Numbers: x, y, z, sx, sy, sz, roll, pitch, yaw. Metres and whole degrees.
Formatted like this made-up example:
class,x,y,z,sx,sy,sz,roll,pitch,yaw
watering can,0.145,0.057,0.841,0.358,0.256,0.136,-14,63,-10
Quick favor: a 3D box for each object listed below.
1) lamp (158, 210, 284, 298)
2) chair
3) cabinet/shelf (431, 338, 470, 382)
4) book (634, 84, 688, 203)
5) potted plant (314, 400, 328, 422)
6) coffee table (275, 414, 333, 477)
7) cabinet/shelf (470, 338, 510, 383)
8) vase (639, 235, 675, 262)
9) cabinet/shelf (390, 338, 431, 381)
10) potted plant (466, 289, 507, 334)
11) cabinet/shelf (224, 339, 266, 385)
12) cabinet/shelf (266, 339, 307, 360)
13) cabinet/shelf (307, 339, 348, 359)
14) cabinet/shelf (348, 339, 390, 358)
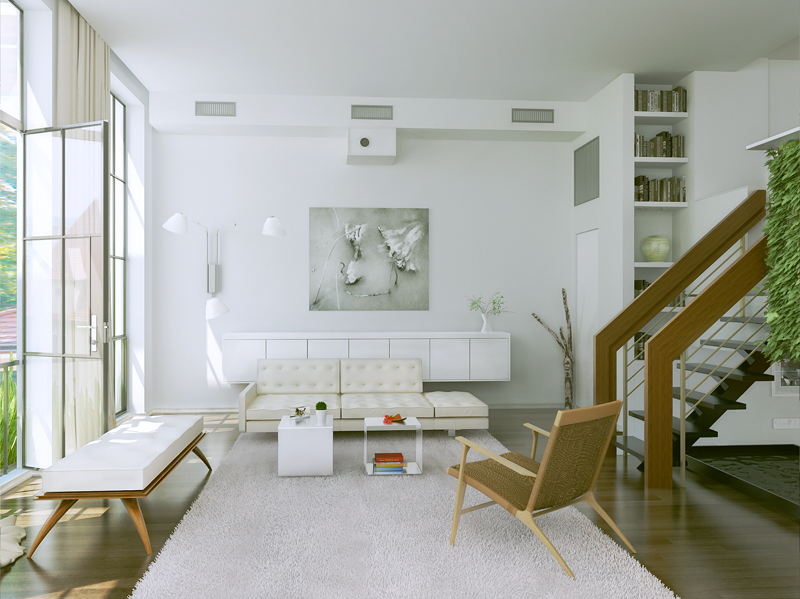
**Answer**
class,x,y,z,sx,sy,sz,roll,pitch,yaw
lamp,-2.227,-0.582,7.757,1.413,1.149,0.369,-1,-19,-2
chair,1.076,1.359,4.860,1.243,1.182,1.073,-9,-9,44
cabinet/shelf,0.598,0.716,7.587,0.483,0.504,0.244,0,0,-6
book,2.985,-1.784,7.317,0.819,1.270,0.397,0,8,2
potted plant,-0.743,1.069,5.991,0.150,0.250,0.158,1,-3,-19
coffee table,-0.884,1.356,5.841,0.441,0.353,0.468,0,1,-8
cabinet/shelf,1.088,0.724,7.862,0.613,0.629,0.458,0,-4,-4
vase,2.928,-0.592,7.157,0.301,0.341,0.307,5,7,42
cabinet/shelf,0.102,0.697,7.430,0.475,0.450,0.171,1,1,2
potted plant,1.141,0.131,8.060,0.449,0.475,0.438,0,-2,8
cabinet/shelf,-1.831,0.725,7.392,0.502,0.515,0.272,0,-1,-7
cabinet/shelf,-1.365,0.586,7.541,0.415,0.215,0.221,1,1,-1
cabinet/shelf,-0.856,0.588,7.478,0.412,0.285,0.225,1,0,-1
cabinet/shelf,-0.362,0.587,7.597,0.420,0.215,0.220,1,0,0
